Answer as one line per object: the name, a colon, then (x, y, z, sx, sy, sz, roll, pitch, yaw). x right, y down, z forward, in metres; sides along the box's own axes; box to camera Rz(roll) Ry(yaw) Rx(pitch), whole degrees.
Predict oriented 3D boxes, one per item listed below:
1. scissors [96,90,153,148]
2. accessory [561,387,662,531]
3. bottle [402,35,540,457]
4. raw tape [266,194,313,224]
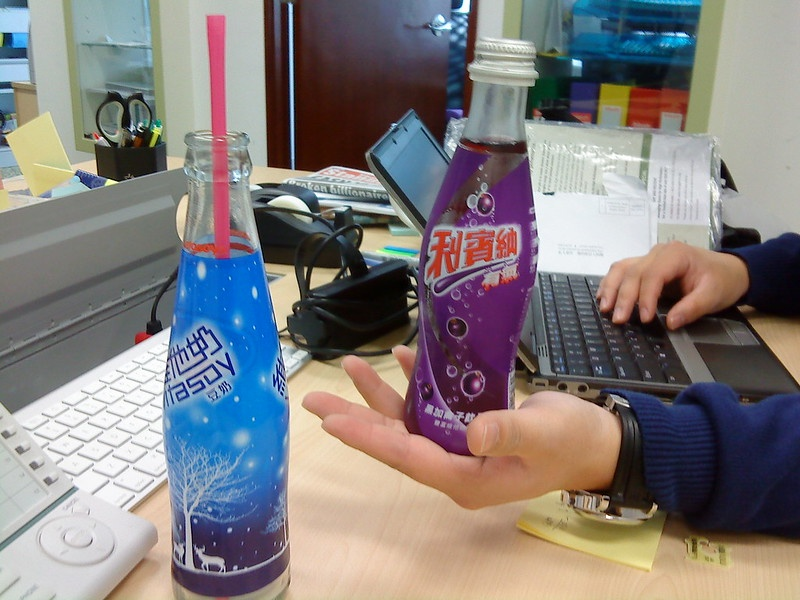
scissors: (-0.582, -0.379, 1.159, 0.095, 0.098, 0.237, -20, 32, -41)
accessory: (0.203, 0.158, 0.562, 0.093, 0.122, 0.125, 13, -16, -9)
bottle: (0.063, -0.032, 0.459, 0.090, 0.328, 0.084, 1, 23, 0)
raw tape: (-0.208, -0.166, 1.040, 0.053, 0.055, 0.031, 11, 34, 19)
